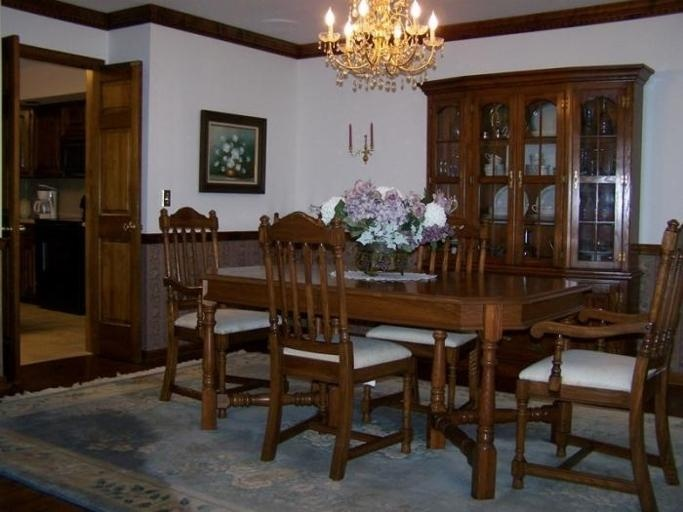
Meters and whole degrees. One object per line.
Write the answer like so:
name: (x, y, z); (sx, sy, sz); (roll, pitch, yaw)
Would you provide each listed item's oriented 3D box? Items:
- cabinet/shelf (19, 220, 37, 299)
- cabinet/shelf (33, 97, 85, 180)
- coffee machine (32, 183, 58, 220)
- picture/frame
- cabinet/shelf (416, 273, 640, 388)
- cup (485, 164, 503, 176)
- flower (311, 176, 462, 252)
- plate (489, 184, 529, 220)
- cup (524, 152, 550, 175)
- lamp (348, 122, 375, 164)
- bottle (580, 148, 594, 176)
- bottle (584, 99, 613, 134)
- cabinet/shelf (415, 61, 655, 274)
cabinet/shelf: (-4.181, 0.084, 7.355); (0.314, 1.068, 0.119); (3, 4, 33)
cabinet/shelf: (-4.024, -1.615, 7.735); (0.993, 0.972, 0.588); (11, 13, 32)
coffee machine: (-4.214, -0.761, 7.838); (0.267, 0.501, 0.310); (16, 13, 42)
picture/frame: (-1.086, -1.019, 5.326); (0.066, 0.923, 0.896); (3, 2, 43)
cabinet/shelf: (1.785, 0.706, 4.591); (1.473, 0.944, 0.513); (-7, -3, 36)
cup: (1.274, -0.711, 4.584); (0.156, 0.110, 0.087); (5, 10, 37)
flower: (0.265, -0.216, 3.050); (0.497, 0.295, 0.516); (5, 3, 19)
plate: (1.396, -0.448, 4.537); (0.271, 0.319, 0.031); (5, 5, 44)
cup: (1.576, -0.738, 4.435); (0.159, 0.160, 0.165); (0, 1, 0)
lamp: (0.235, -1.140, 5.521); (0.193, 0.411, 0.469); (-1, 4, -25)
bottle: (1.912, -0.728, 4.271); (0.103, 0.208, 0.035); (1, 3, 2)
bottle: (1.989, -1.077, 4.228); (0.242, 0.351, 0.036); (-3, -4, 27)
cabinet/shelf: (1.537, -0.601, 4.702); (1.699, 1.788, 0.513); (5, 12, 34)
